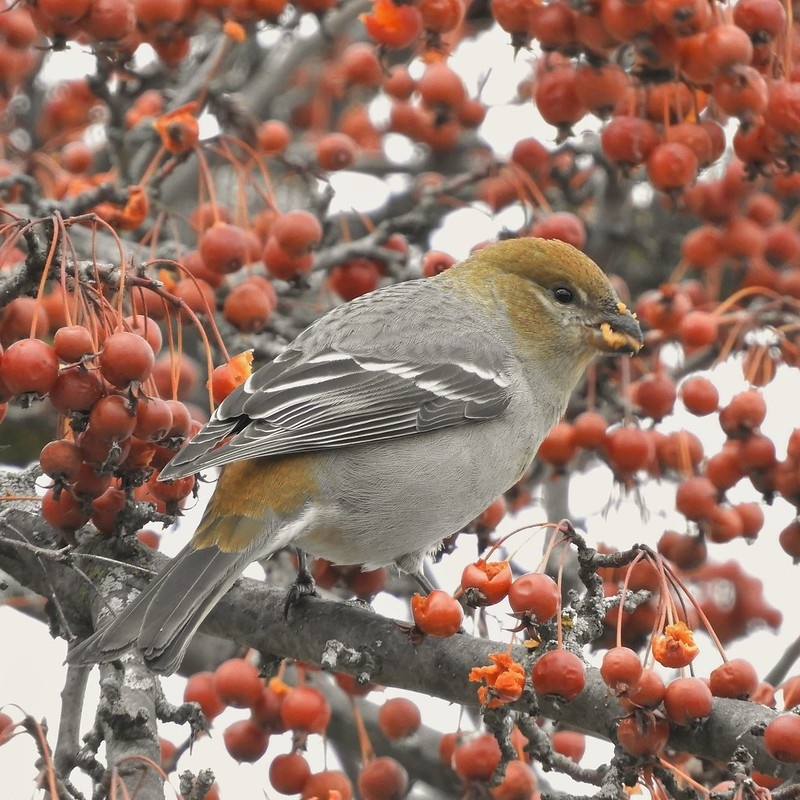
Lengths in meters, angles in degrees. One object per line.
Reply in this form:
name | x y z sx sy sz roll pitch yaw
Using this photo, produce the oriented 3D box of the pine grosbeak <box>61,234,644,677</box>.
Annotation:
pine grosbeak | -0.040 0.098 4.809 2.248 0.761 1.232 -13 -78 -9
